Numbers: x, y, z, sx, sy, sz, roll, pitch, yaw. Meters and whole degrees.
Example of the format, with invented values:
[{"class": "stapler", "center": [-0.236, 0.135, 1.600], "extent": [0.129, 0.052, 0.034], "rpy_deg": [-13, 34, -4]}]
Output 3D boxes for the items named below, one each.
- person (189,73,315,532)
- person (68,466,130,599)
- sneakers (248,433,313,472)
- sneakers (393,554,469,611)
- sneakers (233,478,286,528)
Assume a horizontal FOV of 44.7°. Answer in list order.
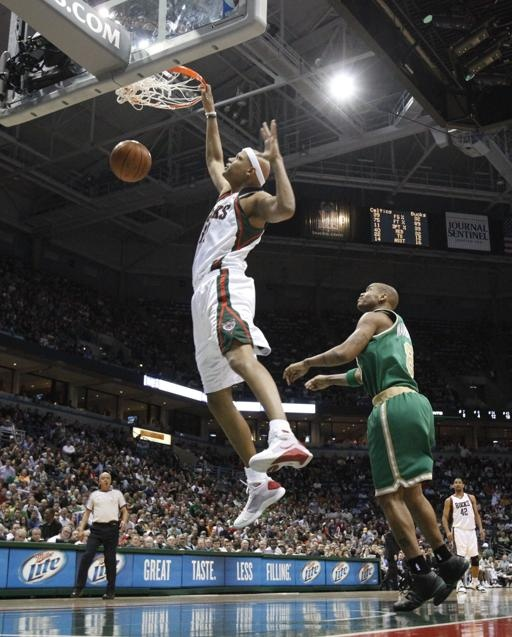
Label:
[{"class": "person", "center": [-0.123, -0.389, 3.668], "extent": [0.467, 3.072, 1.064], "rpy_deg": [3, -19, -18]}, {"class": "person", "center": [-1.915, 2.654, 7.648], "extent": [0.614, 1.479, 0.880], "rpy_deg": [2, -18, -15]}, {"class": "sneakers", "center": [0.109, 0.636, 2.955], "extent": [0.291, 0.175, 0.318], "rpy_deg": [-2, -16, -1]}, {"class": "sneakers", "center": [0.948, 1.586, 3.680], "extent": [0.307, 0.200, 0.621], "rpy_deg": [30, -34, 0]}, {"class": "sneakers", "center": [0.004, 0.937, 3.184], "extent": [0.237, 0.239, 0.316], "rpy_deg": [1, -16, -12]}]
